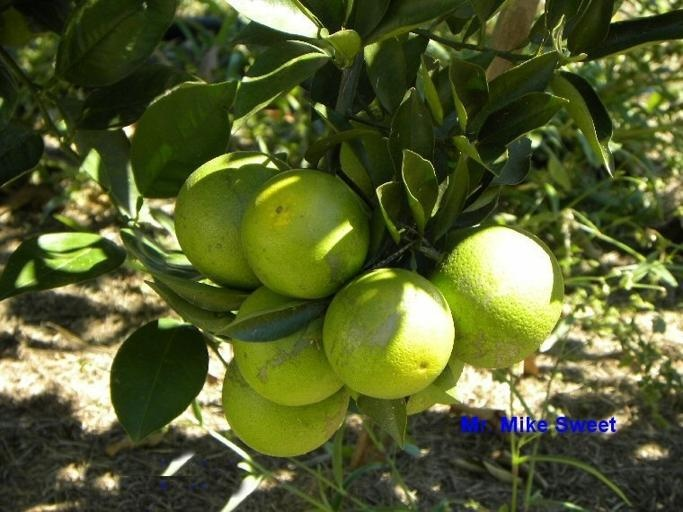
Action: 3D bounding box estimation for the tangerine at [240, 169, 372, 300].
[{"bbox_3d":[-0.072,-0.034,1.013,0.153,0.172,0.156,4,-12,-44],"label":"tangerine"}]

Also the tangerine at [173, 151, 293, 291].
[{"bbox_3d":[-0.186,-0.053,1.063,0.132,0.178,0.145,2,0,6],"label":"tangerine"}]

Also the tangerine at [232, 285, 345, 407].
[{"bbox_3d":[-0.096,0.109,1.018,0.107,0.103,0.126,59,23,-19],"label":"tangerine"}]

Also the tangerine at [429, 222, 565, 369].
[{"bbox_3d":[0.212,0.060,1.056,0.193,0.169,0.212,-89,153,-52],"label":"tangerine"}]

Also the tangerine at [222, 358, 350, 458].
[{"bbox_3d":[-0.069,0.253,1.105,0.142,0.148,0.167,38,7,-2],"label":"tangerine"}]
